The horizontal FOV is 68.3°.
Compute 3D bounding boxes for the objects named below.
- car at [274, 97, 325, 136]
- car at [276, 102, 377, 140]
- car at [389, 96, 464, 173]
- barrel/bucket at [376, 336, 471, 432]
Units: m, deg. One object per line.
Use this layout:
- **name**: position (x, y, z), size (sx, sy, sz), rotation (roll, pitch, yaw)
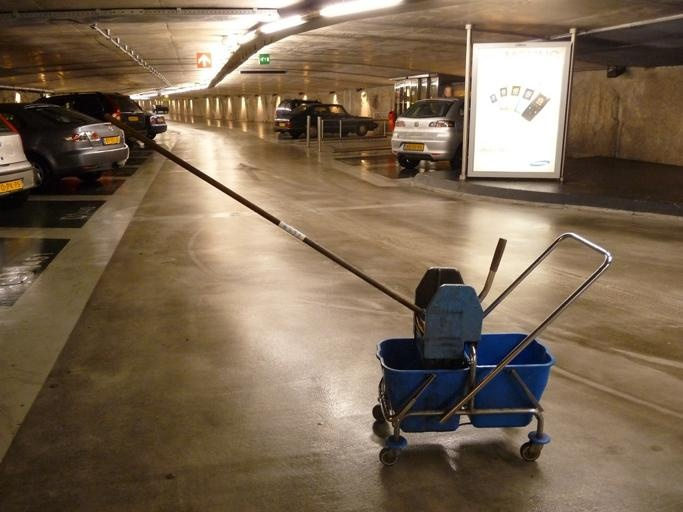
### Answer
- **car**: position (-1.509, -7.864, 27.791), size (3.944, 1.634, 1.939), rotation (-13, 23, -25)
- **car**: position (-0.954, -7.392, 27.361), size (6.132, 1.457, 2.535), rotation (-6, 13, -24)
- **car**: position (2.222, -3.195, 13.054), size (1.410, 1.058, 2.468), rotation (10, 21, 38)
- **barrel/bucket**: position (0.451, 0.764, 3.027), size (0.702, 0.340, 0.546), rotation (0, 2, -6)
